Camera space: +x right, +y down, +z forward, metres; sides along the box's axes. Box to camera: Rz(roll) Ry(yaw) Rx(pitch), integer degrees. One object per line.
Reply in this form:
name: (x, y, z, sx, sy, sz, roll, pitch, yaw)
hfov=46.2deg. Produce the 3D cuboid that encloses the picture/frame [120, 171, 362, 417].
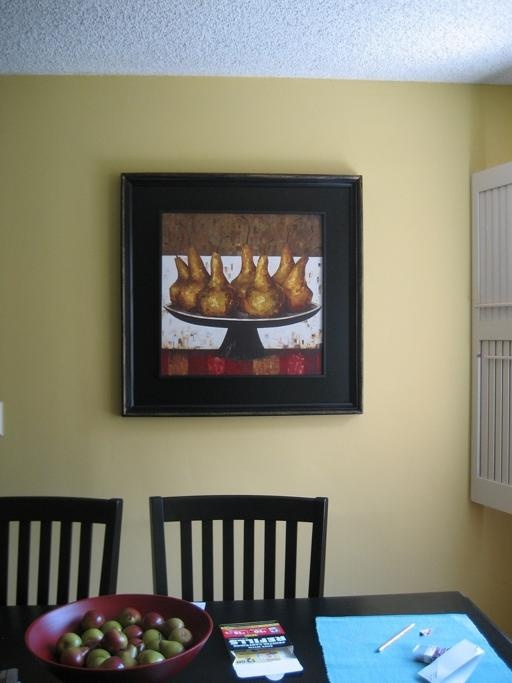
picture/frame: (-0.097, -0.185, 2.290, 0.904, 0.952, 0.043, 0, 2, -1)
